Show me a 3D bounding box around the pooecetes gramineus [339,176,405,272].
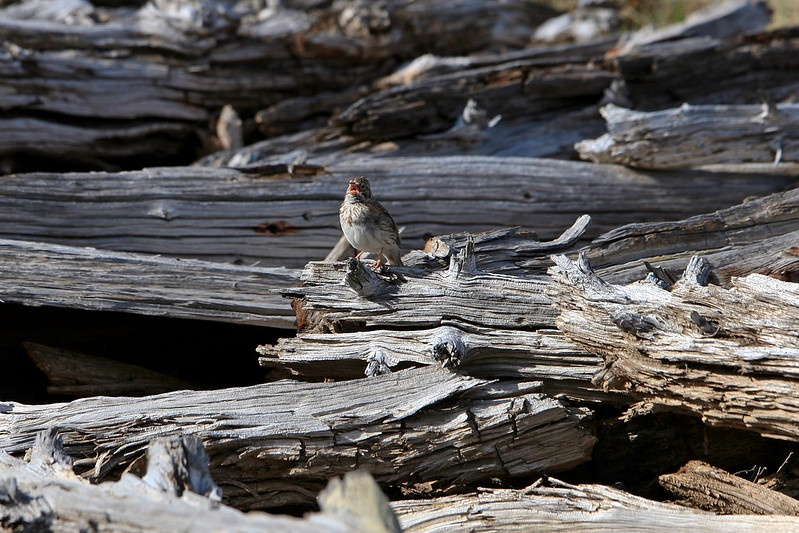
[{"bbox_3d":[-0.383,-0.487,16.865,0.626,0.989,0.535,-5,7,-2],"label":"pooecetes gramineus"}]
